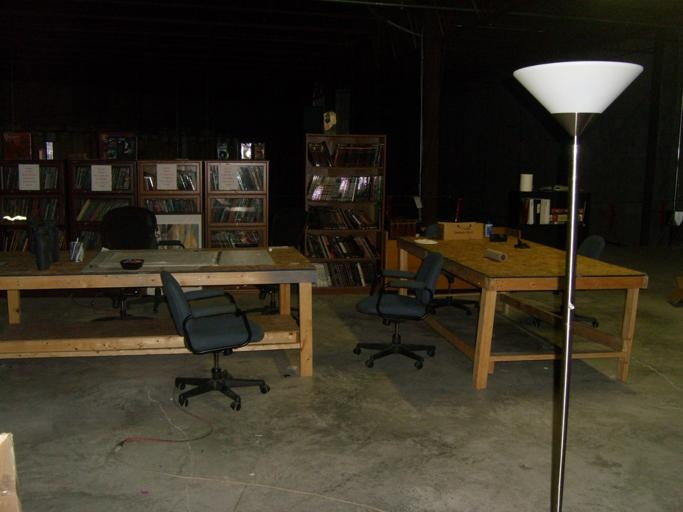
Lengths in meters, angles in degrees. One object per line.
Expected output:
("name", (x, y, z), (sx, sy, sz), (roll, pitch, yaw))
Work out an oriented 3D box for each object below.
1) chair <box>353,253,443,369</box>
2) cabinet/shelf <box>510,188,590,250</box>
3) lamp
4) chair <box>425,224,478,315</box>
("chair", (0.580, 0.510, 5.742), (1.198, 1.283, 1.132), (0, 6, -3))
("cabinet/shelf", (3.279, -0.578, 8.485), (1.597, 1.252, 0.515), (-1, 1, -3))
("lamp", (1.159, 0.219, 2.787), (0.439, 2.336, 0.594), (-7, 16, -26))
("chair", (1.285, 0.139, 6.298), (0.753, 0.589, 1.294), (1, 6, 3))
